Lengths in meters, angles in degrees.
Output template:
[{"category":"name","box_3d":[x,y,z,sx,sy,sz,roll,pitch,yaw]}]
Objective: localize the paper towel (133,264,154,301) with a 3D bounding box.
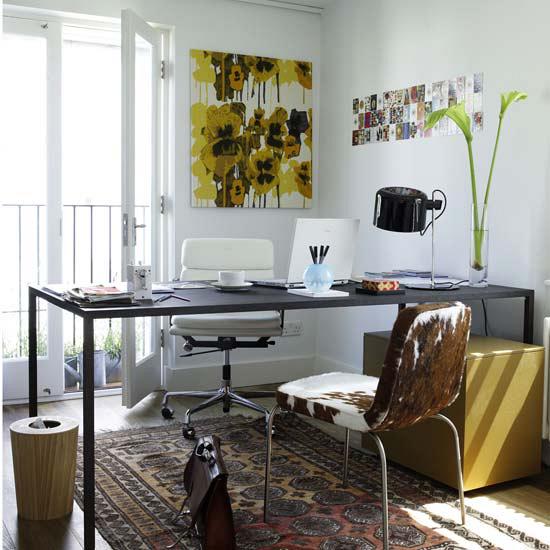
[{"category":"paper towel","box_3d":[-0.488,0.023,1.928,0.060,0.126,0.115,0,4,-19]}]

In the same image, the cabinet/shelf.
[{"category":"cabinet/shelf","box_3d":[0.799,0.580,2.485,0.547,0.832,0.826,-1,4,-24]}]

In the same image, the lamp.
[{"category":"lamp","box_3d":[0.729,-0.173,2.530,0.359,0.460,0.722,1,3,23]}]

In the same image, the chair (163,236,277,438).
[{"category":"chair","box_3d":[-0.263,0.323,2.970,0.721,1.134,0.790,1,-1,27]}]

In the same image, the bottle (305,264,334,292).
[{"category":"bottle","box_3d":[0.181,0.007,2.097,0.101,0.120,0.105,0,5,6]}]
